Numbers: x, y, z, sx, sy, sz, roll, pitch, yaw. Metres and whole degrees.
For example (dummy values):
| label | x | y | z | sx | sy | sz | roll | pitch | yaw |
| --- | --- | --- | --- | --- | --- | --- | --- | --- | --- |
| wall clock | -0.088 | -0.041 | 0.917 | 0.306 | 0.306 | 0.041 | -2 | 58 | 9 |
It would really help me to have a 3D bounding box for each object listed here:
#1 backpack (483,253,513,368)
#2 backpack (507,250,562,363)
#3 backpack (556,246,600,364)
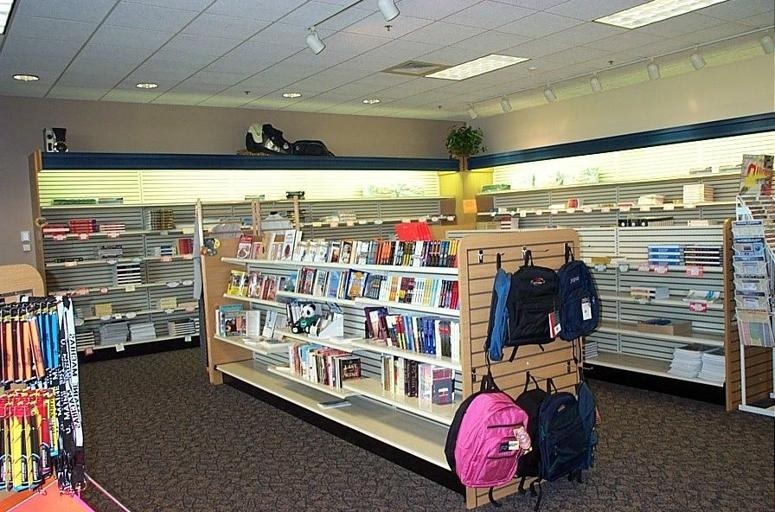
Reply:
| label | x | y | z | sx | sy | sz | roll | pitch | yaw |
| --- | --- | --- | --- | --- | --- | --- | --- | --- | --- |
| backpack | 0.970 | 0.538 | 4.268 | 0.262 | 0.835 | 0.161 | -3 | 5 | 12 |
| backpack | 1.287 | 0.425 | 4.304 | 0.608 | 0.678 | 0.147 | -6 | 5 | -32 |
| backpack | 1.760 | 0.402 | 4.517 | 0.525 | 0.719 | 0.120 | -6 | 5 | -31 |
